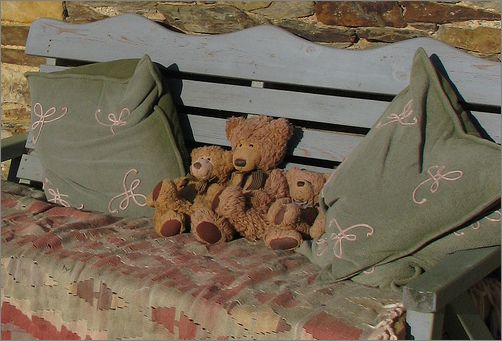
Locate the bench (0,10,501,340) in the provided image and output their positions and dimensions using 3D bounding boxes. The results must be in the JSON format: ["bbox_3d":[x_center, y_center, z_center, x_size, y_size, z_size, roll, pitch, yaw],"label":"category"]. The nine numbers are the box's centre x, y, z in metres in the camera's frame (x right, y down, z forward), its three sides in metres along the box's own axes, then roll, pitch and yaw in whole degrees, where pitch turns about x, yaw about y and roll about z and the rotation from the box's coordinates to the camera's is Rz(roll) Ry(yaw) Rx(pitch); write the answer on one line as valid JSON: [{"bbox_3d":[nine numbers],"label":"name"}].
[{"bbox_3d":[0.006,0.051,3.004,1.483,0.684,0.579,8,19,26],"label":"bench"}]

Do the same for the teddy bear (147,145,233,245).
[{"bbox_3d":[-0.258,0.101,3.137,0.473,0.434,0.291,6,14,23],"label":"teddy bear"}]

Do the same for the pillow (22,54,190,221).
[{"bbox_3d":[-0.685,-0.149,3.310,0.860,0.809,0.342,-4,-2,21],"label":"pillow"}]
